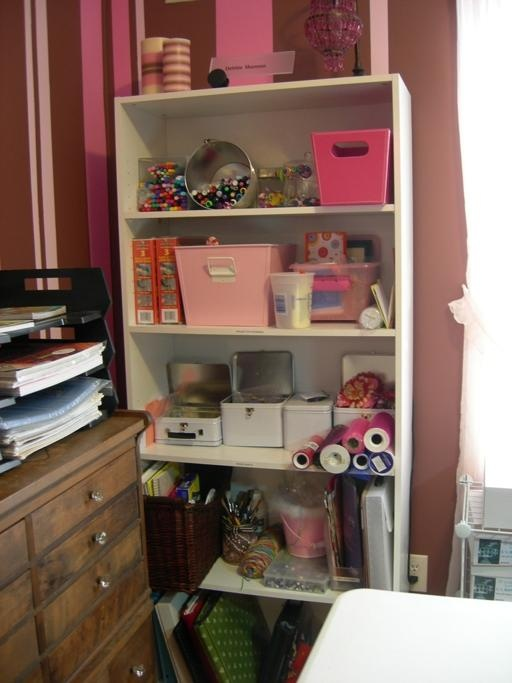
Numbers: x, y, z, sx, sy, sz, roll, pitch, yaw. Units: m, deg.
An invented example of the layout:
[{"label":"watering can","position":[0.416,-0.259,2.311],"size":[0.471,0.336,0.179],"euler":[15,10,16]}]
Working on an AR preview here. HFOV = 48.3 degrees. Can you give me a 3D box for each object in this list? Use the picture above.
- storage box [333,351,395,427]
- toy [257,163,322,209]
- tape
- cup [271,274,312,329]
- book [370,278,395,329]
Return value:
[{"label":"storage box","position":[0.318,0.113,1.693],"size":[0.181,0.205,0.141],"euler":[6,16,12]},{"label":"toy","position":[0.090,-0.427,1.689],"size":[0.179,0.171,0.214],"euler":[1,12,5]},{"label":"tape","position":[0.263,0.275,1.555],"size":[0.226,0.156,0.187],"euler":[6,9,14]},{"label":"cup","position":[0.096,-0.107,1.522],"size":[0.132,0.148,0.139],"euler":[-1,7,0]},{"label":"book","position":[0.340,-0.101,1.547],"size":[0.069,0.113,0.231],"euler":[6,9,11]}]
